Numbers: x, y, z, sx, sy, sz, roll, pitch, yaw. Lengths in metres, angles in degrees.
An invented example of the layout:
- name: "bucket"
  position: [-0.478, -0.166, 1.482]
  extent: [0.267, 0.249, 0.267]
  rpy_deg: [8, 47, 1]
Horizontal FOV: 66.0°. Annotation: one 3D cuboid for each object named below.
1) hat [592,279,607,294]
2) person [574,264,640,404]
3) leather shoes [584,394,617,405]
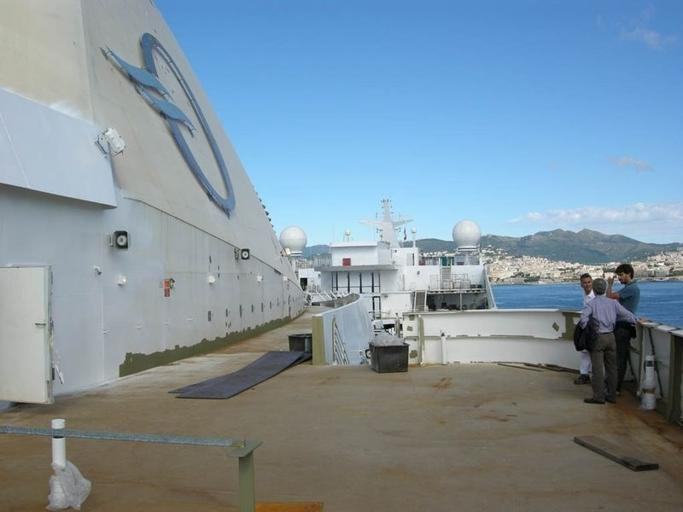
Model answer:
- name: "hat"
  position: [4.361, 0.517, 8.928]
  extent: [0.218, 0.259, 0.257]
  rpy_deg: [1, 19, 24]
- name: "person"
  position: [4.408, 1.397, 8.837]
  extent: [0.836, 1.790, 0.470]
  rpy_deg: [-2, -2, -16]
- name: "leather shoes"
  position: [4.295, 2.394, 8.739]
  extent: [0.490, 0.216, 0.179]
  rpy_deg: [2, -4, 5]
